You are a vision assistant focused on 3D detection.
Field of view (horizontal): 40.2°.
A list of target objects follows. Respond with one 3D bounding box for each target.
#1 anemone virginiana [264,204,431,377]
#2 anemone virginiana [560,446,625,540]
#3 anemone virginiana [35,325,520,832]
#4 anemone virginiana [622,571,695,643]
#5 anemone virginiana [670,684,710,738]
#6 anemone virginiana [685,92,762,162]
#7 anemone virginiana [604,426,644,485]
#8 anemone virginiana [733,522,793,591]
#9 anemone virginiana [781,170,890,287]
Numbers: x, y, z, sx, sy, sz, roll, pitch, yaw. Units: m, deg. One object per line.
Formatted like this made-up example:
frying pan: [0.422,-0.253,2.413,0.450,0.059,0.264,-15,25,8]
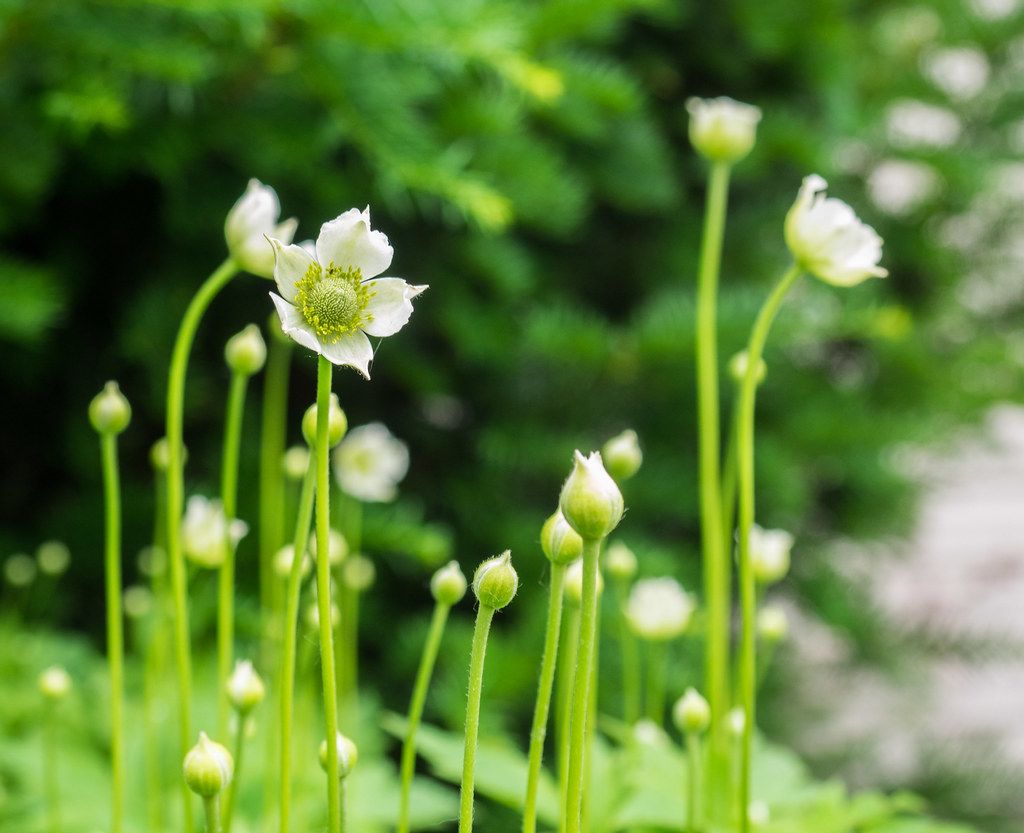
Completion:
anemone virginiana: [-0.196,-0.148,1.578,0.159,0.074,0.220,8,-26,-4]
anemone virginiana: [0.081,0.086,1.527,0.067,0.108,0.067,1,-15,-12]
anemone virginiana: [-0.301,0.131,1.693,0.428,0.736,0.607,8,-18,-32]
anemone virginiana: [0.207,0.272,2.002,0.095,0.105,0.136,-4,-17,7]
anemone virginiana: [0.226,0.364,1.771,0.048,0.078,0.041,-4,8,-23]
anemone virginiana: [0.269,-0.380,1.867,0.062,0.064,0.073,-9,4,12]
anemone virginiana: [0.141,0.054,1.858,0.062,0.103,0.086,0,4,10]
anemone virginiana: [0.345,0.189,1.944,0.080,0.103,0.099,-1,-38,2]
anemone virginiana: [0.370,-0.219,1.735,0.098,0.065,0.136,27,-18,2]
